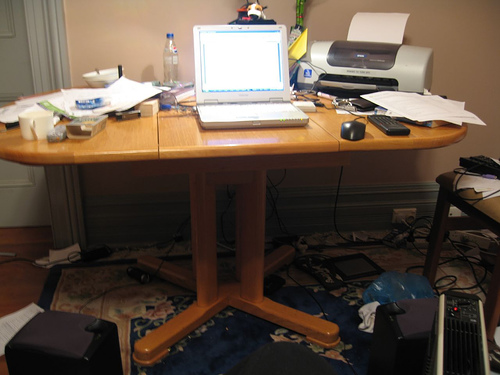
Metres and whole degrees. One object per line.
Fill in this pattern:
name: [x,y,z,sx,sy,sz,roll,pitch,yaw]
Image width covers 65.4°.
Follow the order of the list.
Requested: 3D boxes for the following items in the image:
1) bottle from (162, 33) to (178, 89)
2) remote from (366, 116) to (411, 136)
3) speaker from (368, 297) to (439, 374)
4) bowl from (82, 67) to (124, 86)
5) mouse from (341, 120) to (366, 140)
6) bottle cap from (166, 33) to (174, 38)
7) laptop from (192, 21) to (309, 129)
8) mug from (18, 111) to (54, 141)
bottle: [-0.434,-0.677,2.093,0.101,0.270,0.320,-4,26,-10]
remote: [0.561,-0.250,1.561,0.107,0.032,0.189,-4,27,-10]
speaker: [0.593,0.612,1.508,0.225,0.325,0.220,6,26,12]
bowl: [-0.706,-0.538,1.890,0.077,0.072,0.194,17,30,30]
mouse: [0.382,-0.211,1.440,0.069,0.051,0.072,18,34,11]
bottle cap: [-0.430,-0.808,2.062,0.034,0.021,0.035,2,27,-1]
laptop: [-0.001,-0.492,1.655,0.502,0.341,0.460,-10,30,-23]
mug: [-0.784,-0.229,1.433,0.111,0.083,0.128,-10,28,-22]
